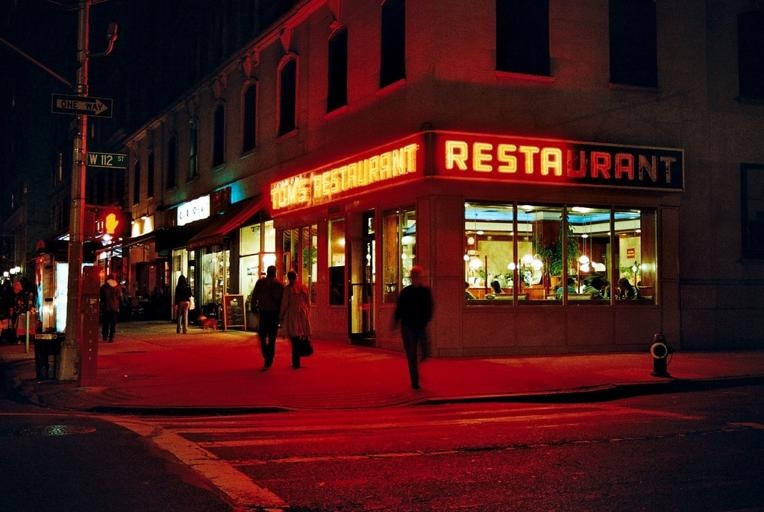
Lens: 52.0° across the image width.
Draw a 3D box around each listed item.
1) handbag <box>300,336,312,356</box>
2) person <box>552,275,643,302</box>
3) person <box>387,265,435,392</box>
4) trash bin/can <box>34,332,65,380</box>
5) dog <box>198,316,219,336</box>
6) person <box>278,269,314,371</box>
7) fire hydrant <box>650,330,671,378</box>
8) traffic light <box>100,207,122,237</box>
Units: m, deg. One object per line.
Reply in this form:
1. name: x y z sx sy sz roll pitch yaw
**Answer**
1. handbag: -1.799 2.127 18.869 0.259 0.444 0.405 -3 -4 25
2. person: 6.124 0.894 21.993 2.677 0.740 0.287 0 -4 -24
3. person: 0.639 1.468 16.336 0.812 2.570 0.645 -1 -3 0
4. trash bin/can: -7.598 2.253 17.897 0.609 1.033 1.504 0 -4 -27
5. dog: -6.289 2.441 28.657 0.582 0.603 1.931 -1 -3 -12
6. person: -2.097 1.505 19.084 0.699 2.354 0.940 -1 -3 -8
7. fire hydrant: 6.582 2.339 18.644 0.541 0.968 0.807 0 -4 4
8. traffic light: -7.016 -0.922 20.174 0.455 0.767 1.115 -1 -3 4
